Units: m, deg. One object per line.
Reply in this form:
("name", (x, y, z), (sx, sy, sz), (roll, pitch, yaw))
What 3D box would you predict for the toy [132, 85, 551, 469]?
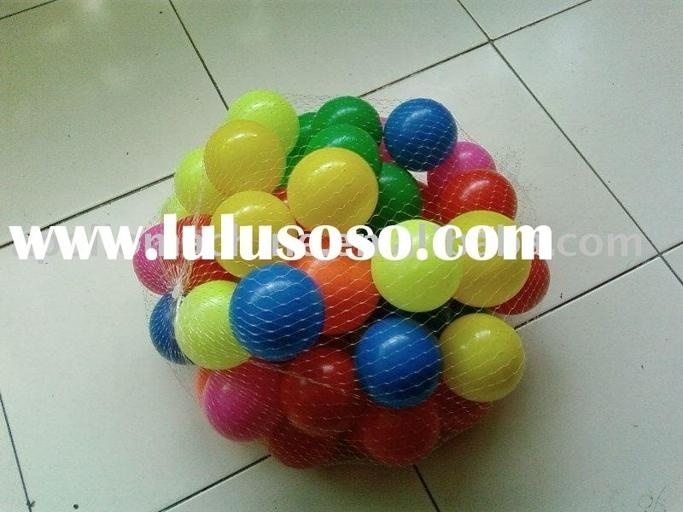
("toy", (-0.035, 0.118, 1.544), (0.684, 0.429, 0.850), (6, 95, -8))
